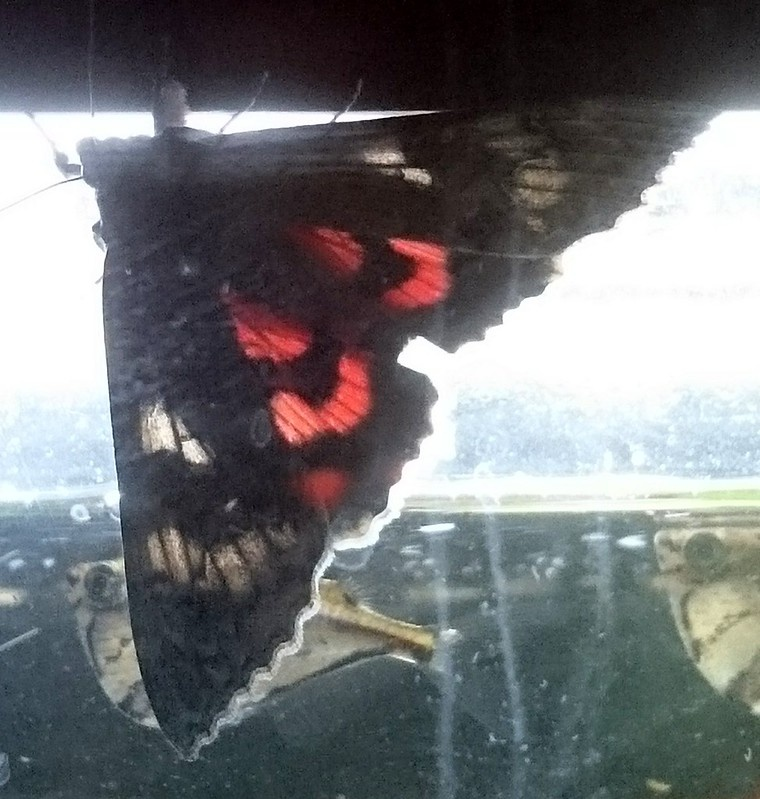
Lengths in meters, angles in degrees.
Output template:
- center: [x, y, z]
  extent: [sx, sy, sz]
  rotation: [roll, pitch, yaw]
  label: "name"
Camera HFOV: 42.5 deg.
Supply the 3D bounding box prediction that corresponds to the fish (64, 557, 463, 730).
- center: [-0.261, 0.650, 2.649]
  extent: [0.957, 0.534, 0.247]
  rotation: [11, 7, 2]
  label: "fish"
